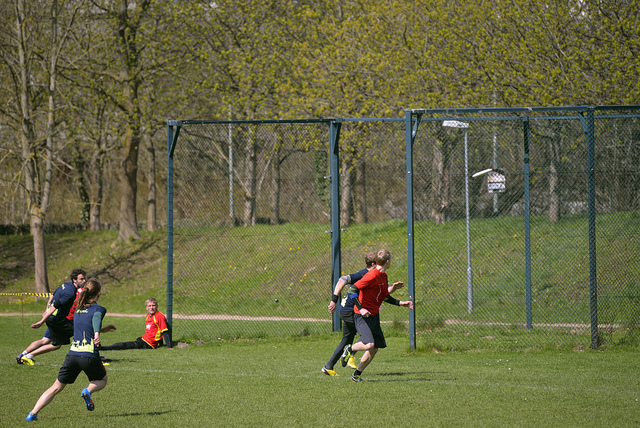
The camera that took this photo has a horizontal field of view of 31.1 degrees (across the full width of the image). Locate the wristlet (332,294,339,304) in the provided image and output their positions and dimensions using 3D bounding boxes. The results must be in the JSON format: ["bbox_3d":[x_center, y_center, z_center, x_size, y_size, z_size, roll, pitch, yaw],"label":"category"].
[{"bbox_3d":[0.475,2.657,35.647,0.194,0.330,0.214,-1,0,5],"label":"wristlet"}]

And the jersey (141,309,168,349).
[{"bbox_3d":[-5.632,3.903,38.577,0.683,1.267,1.143,5,1,-43],"label":"jersey"}]

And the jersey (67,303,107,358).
[{"bbox_3d":[-7.076,3.380,34.420,1.219,1.782,0.901,10,12,20],"label":"jersey"}]

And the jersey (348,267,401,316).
[{"bbox_3d":[1.712,2.410,35.616,1.652,1.452,1.173,1,15,-36],"label":"jersey"}]
